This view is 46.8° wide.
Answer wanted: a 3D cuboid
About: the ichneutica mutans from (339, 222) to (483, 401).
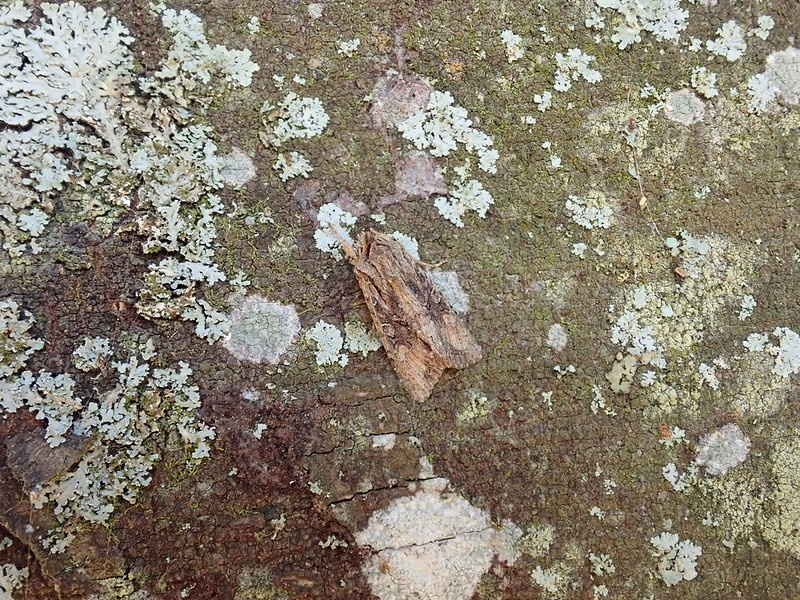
[{"bbox_3d":[0.077,0.088,7.797,0.741,0.367,1.412,-34,86,-7],"label":"ichneutica mutans"}]
